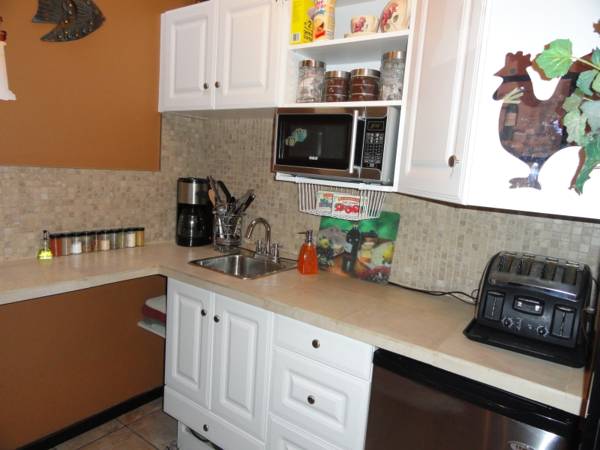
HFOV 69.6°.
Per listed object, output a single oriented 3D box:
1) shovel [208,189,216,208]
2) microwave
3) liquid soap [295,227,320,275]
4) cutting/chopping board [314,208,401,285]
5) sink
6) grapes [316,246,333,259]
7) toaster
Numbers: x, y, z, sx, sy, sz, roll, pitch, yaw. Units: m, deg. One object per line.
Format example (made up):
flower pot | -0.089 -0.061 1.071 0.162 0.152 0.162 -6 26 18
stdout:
shovel | -0.575 -0.172 2.816 0.041 0.123 0.190 -3 9 -13
microwave | 0.187 -0.425 2.273 0.586 0.365 0.358 7 11 27
liquid soap | 0.042 0.153 2.405 0.107 0.251 0.072 -1 9 -1
cutting/chopping board | 0.336 0.126 2.386 0.379 0.330 0.016 4 -1 36
sink | -0.319 0.207 2.539 0.465 0.171 0.432 11 11 35
grapes | 0.142 0.160 2.513 0.076 0.034 0.056 38 -5 17
toaster | 0.888 0.282 1.651 0.345 0.264 0.355 8 12 35
